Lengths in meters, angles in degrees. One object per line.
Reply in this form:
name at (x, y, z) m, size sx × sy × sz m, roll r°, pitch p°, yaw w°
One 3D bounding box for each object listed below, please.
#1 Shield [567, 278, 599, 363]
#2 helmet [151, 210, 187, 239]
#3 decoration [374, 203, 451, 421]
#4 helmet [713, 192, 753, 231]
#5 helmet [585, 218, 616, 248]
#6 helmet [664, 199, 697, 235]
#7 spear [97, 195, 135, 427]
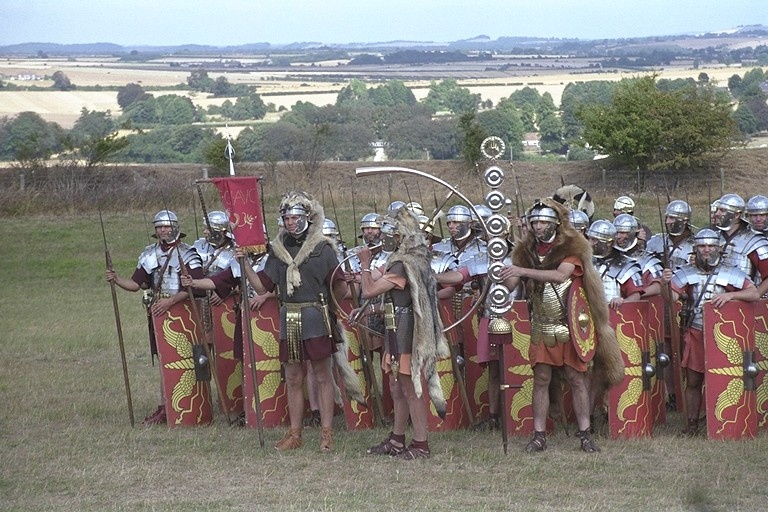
Shield at (3.630, 1.164, 25.331) m, size 0.539 × 1.566 × 0.290 m, roll -8°, pitch 9°, yaw -32°
helmet at (-4.324, -0.642, 27.271) m, size 0.626 × 0.515 × 0.630 m, roll -3°, pitch 0°, yaw 10°
decoration at (0.662, 1.045, 25.347) m, size 0.942 × 3.860 × 0.635 m, roll -5°, pitch 7°, yaw -11°
helmet at (6.636, -0.878, 26.765) m, size 0.783 × 0.665 × 0.571 m, roll 7°, pitch 0°, yaw -6°
helmet at (4.219, -0.454, 26.647) m, size 0.506 × 0.442 × 0.444 m, roll -2°, pitch 4°, yaw -31°
helmet at (5.891, -0.790, 27.485) m, size 0.686 × 0.719 × 0.544 m, roll -1°, pitch 10°, yaw -10°
spear at (-6.597, 1.409, 33.645) m, size 0.121 × 5.080 × 0.203 m, roll -9°, pitch -1°, yaw 3°
